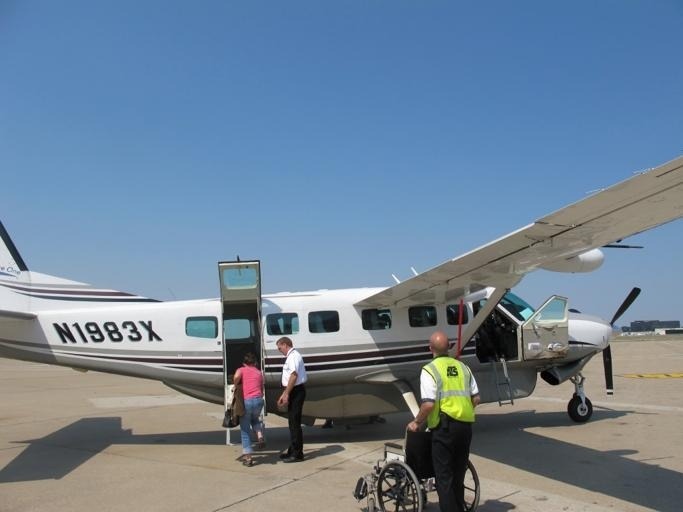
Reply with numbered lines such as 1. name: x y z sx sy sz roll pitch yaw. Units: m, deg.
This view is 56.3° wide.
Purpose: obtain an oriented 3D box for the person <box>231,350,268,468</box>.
1. person: -1.745 3.041 12.143 0.573 1.812 0.341 0 -5 -13

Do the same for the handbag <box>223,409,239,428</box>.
1. handbag: -2.082 3.100 12.144 0.298 0.414 0.388 0 -5 -10

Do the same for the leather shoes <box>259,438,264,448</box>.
1. leather shoes: -1.511 3.605 12.127 0.104 0.088 0.215 3 -38 -6

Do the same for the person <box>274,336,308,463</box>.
1. person: -0.961 2.777 12.468 0.541 2.347 1.451 0 -5 -5
